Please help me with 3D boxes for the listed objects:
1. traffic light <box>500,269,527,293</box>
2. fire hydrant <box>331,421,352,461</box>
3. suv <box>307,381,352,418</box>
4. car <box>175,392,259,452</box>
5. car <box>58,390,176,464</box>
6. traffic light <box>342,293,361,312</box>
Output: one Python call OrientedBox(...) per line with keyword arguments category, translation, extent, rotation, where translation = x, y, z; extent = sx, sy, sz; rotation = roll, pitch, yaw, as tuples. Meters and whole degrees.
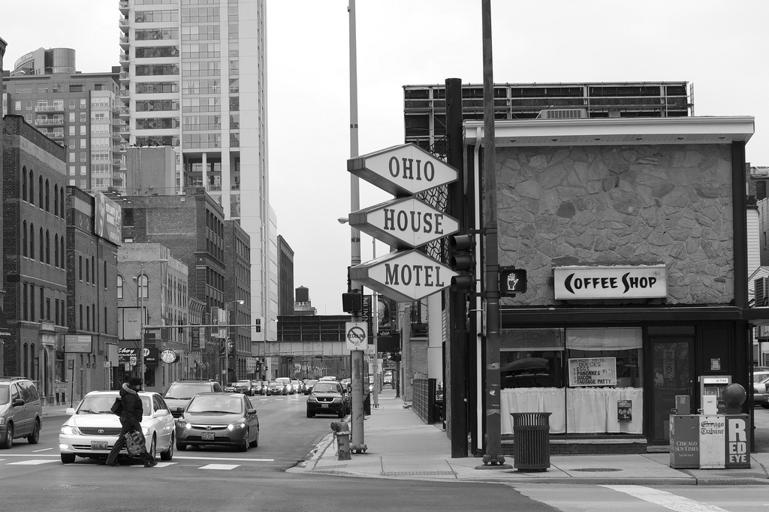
OrientedBox(category="traffic light", translation=(4.893, 0.901, 63.382), extent=(1.006, 1.005, 0.335), rotation=(2, -11, -8))
OrientedBox(category="fire hydrant", translation=(-1.763, 7.385, 67.056), extent=(0.813, 1.657, 1.305), rotation=(1, -11, -1))
OrientedBox(category="suv", translation=(-3.227, 7.971, 93.944), extent=(1.963, 2.178, 2.516), rotation=(-2, -11, 13))
OrientedBox(category="car", translation=(-7.165, 6.992, 71.592), extent=(2.664, 1.989, 5.953), rotation=(0, -4, -5))
OrientedBox(category="car", translation=(-11.070, 6.773, 66.799), extent=(3.194, 2.366, 6.825), rotation=(0, -5, -5))
OrientedBox(category="traffic light", translation=(-1.308, 1.836, 67.706), extent=(0.876, 0.862, 0.477), rotation=(3, -11, -13))
